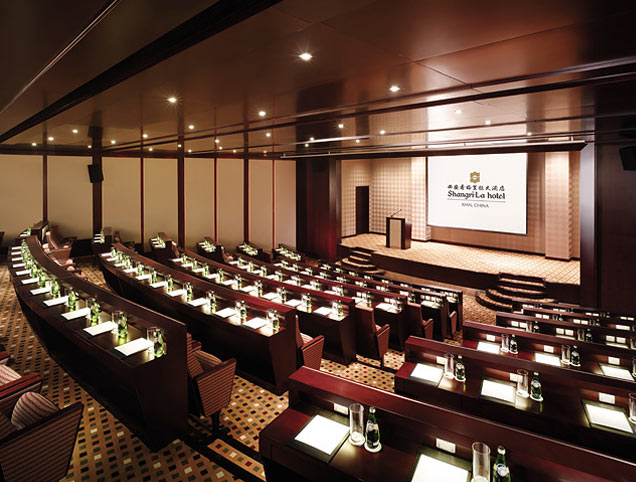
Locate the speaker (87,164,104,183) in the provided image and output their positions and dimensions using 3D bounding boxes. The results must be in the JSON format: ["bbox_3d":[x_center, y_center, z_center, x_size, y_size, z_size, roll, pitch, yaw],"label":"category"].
[{"bbox_3d":[-4.973,-1.498,9.682,0.257,0.397,0.645,-4,14,-29],"label":"speaker"}]

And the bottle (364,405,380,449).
[{"bbox_3d":[0.509,1.656,3.908,0.161,0.350,0.280,4,11,9],"label":"bottle"}]

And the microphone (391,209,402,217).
[{"bbox_3d":[3.102,-1.133,17.247,0.173,0.334,0.578,-3,13,-25],"label":"microphone"}]
